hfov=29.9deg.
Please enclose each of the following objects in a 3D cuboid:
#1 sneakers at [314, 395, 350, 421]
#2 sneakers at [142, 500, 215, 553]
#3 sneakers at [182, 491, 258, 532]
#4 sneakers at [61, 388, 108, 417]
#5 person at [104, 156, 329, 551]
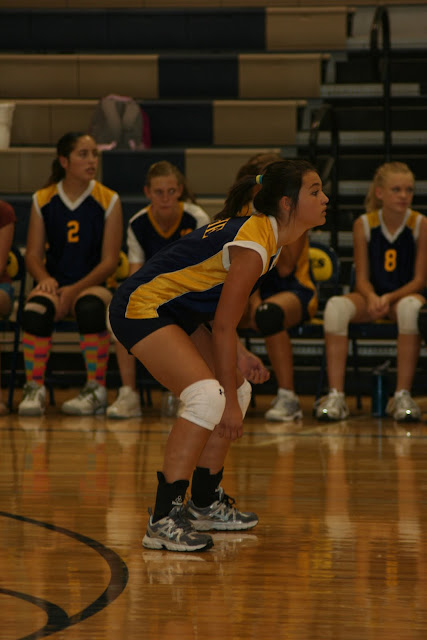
[{"bbox_3d":[0.453,0.327,3.044,0.091,0.054,0.119,2,9,9],"label":"sneakers"},{"bbox_3d":[-0.067,0.378,1.469,0.169,0.106,0.058,0,-4,7],"label":"sneakers"},{"bbox_3d":[0.016,0.387,1.633,0.182,0.098,0.059,2,-2,5],"label":"sneakers"},{"bbox_3d":[-0.507,0.327,3.202,0.181,0.110,0.094,6,0,-24],"label":"sneakers"},{"bbox_3d":[-0.006,0.048,1.599,0.445,0.742,0.329,-2,3,-41],"label":"person"}]
